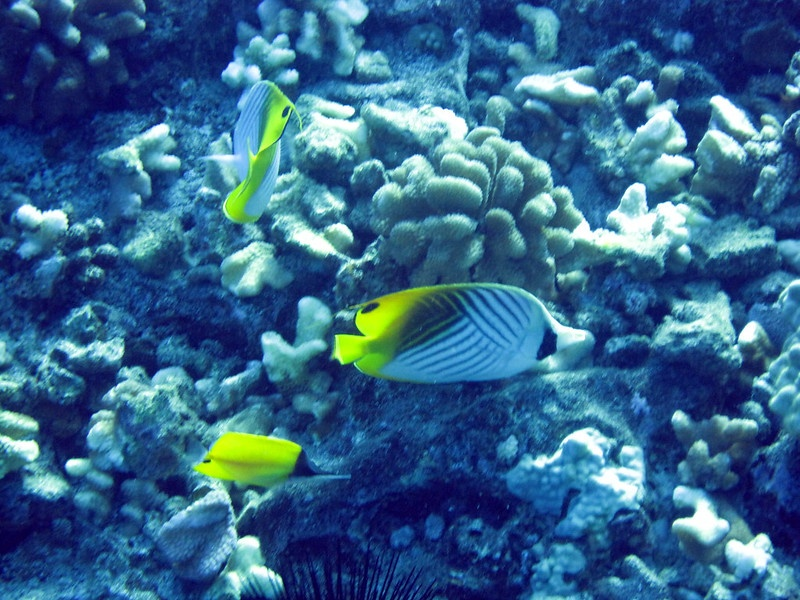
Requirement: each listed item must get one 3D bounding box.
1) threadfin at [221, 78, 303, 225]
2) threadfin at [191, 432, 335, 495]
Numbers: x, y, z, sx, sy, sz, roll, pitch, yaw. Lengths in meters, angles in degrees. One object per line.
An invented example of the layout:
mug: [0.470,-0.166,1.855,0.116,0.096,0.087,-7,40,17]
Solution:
threadfin: [-0.942,-0.941,6.251,0.389,0.697,0.695,14,56,-3]
threadfin: [-0.878,1.091,6.356,0.703,0.349,0.221,12,24,-8]
